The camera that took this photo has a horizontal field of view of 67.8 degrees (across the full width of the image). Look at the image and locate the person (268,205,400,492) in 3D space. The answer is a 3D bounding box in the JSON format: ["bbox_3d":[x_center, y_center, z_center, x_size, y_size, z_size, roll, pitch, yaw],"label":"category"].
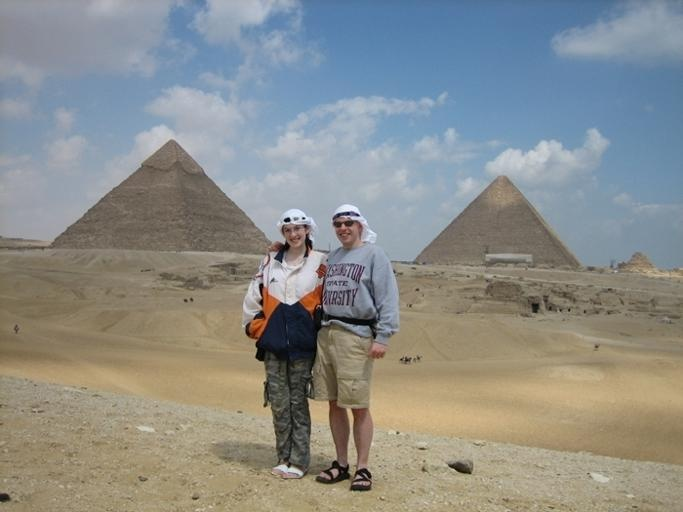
[{"bbox_3d":[0.125,0.731,4.332,0.680,2.365,0.462,4,-5,-3],"label":"person"}]

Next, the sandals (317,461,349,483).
[{"bbox_3d":[-0.058,1.853,4.368,0.120,0.131,0.337,-12,-19,41],"label":"sandals"}]

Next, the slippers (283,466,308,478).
[{"bbox_3d":[-0.397,1.831,4.328,0.195,0.105,0.125,4,-5,-11],"label":"slippers"}]
